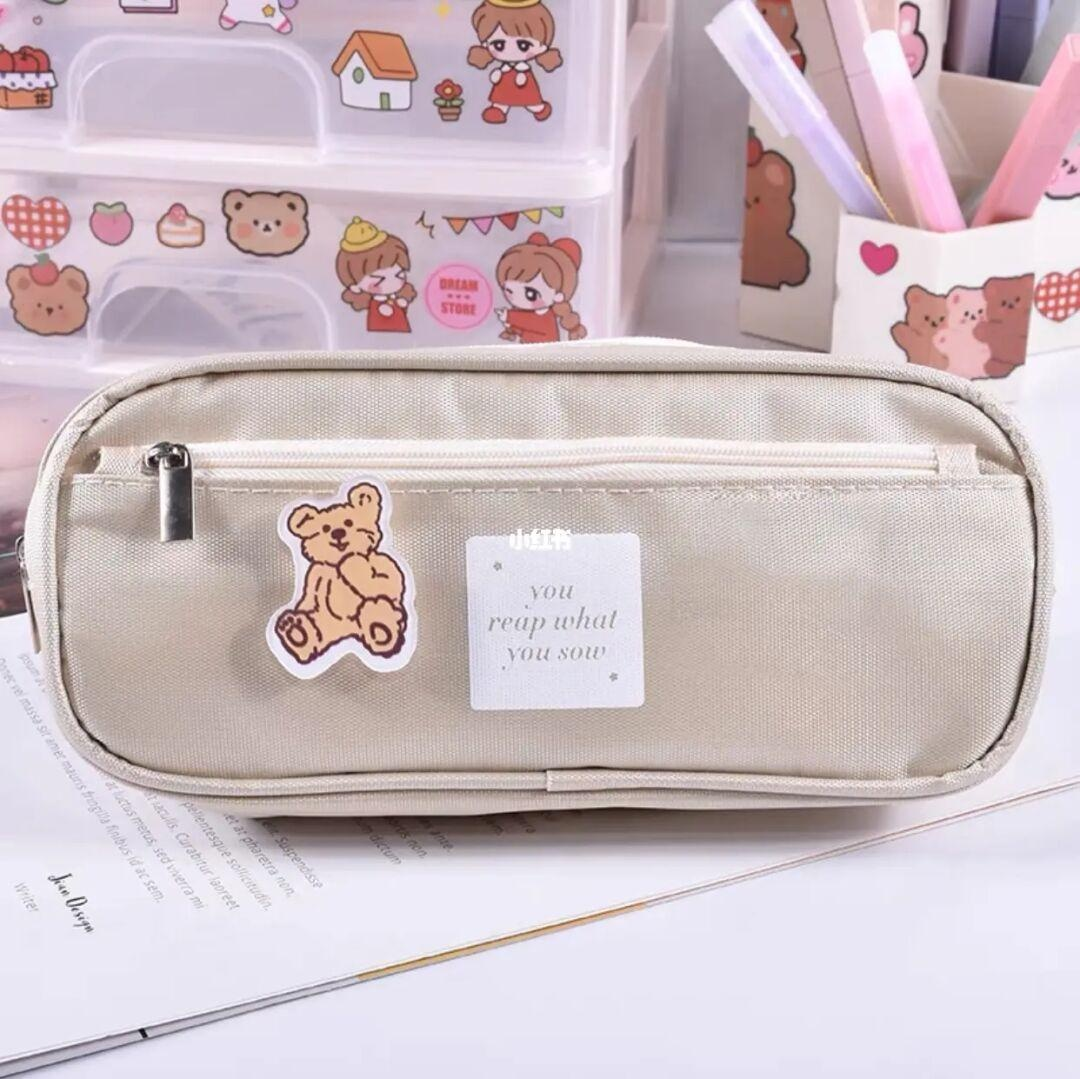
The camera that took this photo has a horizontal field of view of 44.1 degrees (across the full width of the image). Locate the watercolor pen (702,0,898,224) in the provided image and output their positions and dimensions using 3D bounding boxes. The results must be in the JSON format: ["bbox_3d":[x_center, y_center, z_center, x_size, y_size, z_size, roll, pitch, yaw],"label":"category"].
[{"bbox_3d":[0.129,-0.213,0.668,0.094,0.106,0.047,-15,25,-32],"label":"watercolor pen"}]
